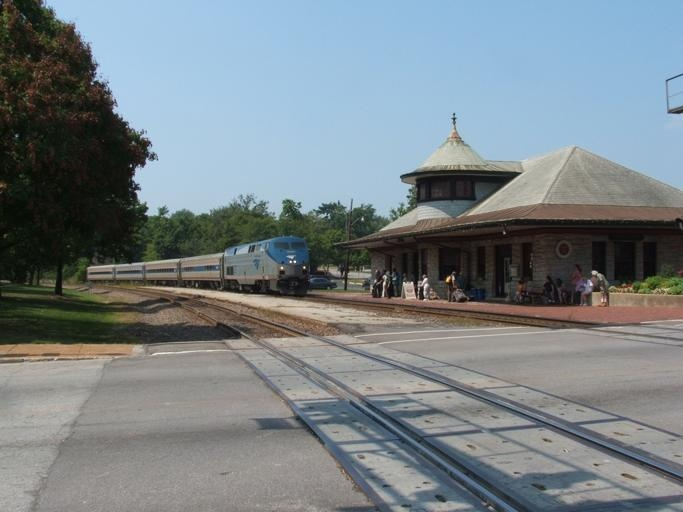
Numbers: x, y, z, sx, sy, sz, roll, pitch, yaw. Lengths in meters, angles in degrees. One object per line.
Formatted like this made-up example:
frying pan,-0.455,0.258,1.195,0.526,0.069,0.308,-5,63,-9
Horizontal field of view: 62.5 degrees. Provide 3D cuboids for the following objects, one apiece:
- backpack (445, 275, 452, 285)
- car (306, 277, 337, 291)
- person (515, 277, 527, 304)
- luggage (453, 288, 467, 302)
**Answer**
backpack,6.728,1.486,35.242,0.478,0.577,0.591,3,-19,-7
car,-2.165,3.345,68.624,3.293,0.981,1.396,0,-1,-17
person,9.808,1.882,30.862,0.590,1.406,1.165,0,-3,16
luggage,7.263,2.359,34.455,0.885,0.824,0.551,0,-3,16
